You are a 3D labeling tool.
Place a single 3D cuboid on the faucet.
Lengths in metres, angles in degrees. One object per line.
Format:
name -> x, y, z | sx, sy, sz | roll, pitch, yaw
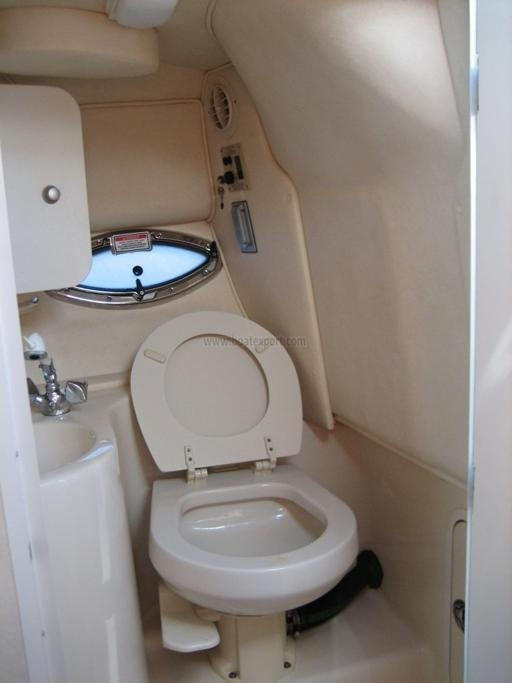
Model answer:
faucet -> -0.458, 0.069, 1.277 | 0.134, 0.150, 0.098 | -16, 7, -2
